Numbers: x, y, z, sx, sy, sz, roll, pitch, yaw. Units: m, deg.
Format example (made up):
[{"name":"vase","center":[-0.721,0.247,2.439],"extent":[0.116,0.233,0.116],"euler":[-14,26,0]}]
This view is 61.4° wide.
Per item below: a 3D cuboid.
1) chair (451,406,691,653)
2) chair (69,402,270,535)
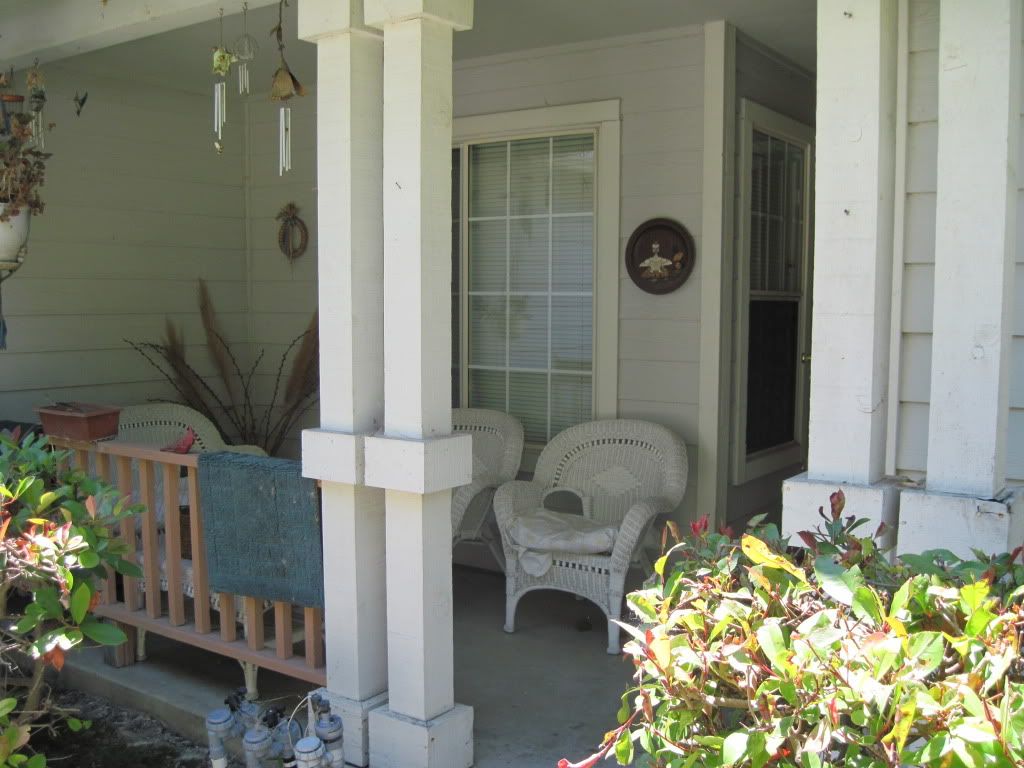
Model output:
[{"name":"chair","center":[0.335,0.648,4.698],"extent":[1.090,1.212,1.127],"euler":[2,1,28]},{"name":"chair","center":[-1.962,0.464,5.051],"extent":[0.678,0.851,0.645],"euler":[4,-5,-41]}]
